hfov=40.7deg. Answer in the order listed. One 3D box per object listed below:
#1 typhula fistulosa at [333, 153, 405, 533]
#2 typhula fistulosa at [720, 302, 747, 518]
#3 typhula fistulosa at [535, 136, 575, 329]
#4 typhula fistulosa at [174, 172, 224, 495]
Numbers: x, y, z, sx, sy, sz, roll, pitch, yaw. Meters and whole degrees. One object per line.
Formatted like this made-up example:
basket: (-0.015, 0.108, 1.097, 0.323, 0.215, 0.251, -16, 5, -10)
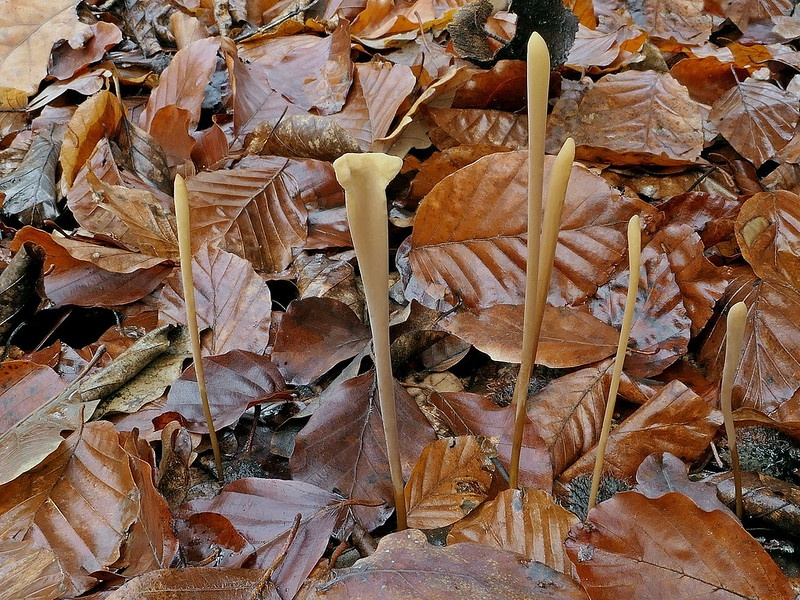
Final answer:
typhula fistulosa: (-0.018, 0.027, 1.268, 0.077, 0.078, 0.382, -1, 78, -18)
typhula fistulosa: (0.433, 0.134, 1.398, 0.035, 0.023, 0.276, -12, 63, 38)
typhula fistulosa: (0.182, -0.088, 1.398, 0.033, 0.307, 0.021, 2, 36, -7)
typhula fistulosa: (-0.312, 0.070, 1.669, 0.043, 0.526, 0.044, 5, 23, 26)
